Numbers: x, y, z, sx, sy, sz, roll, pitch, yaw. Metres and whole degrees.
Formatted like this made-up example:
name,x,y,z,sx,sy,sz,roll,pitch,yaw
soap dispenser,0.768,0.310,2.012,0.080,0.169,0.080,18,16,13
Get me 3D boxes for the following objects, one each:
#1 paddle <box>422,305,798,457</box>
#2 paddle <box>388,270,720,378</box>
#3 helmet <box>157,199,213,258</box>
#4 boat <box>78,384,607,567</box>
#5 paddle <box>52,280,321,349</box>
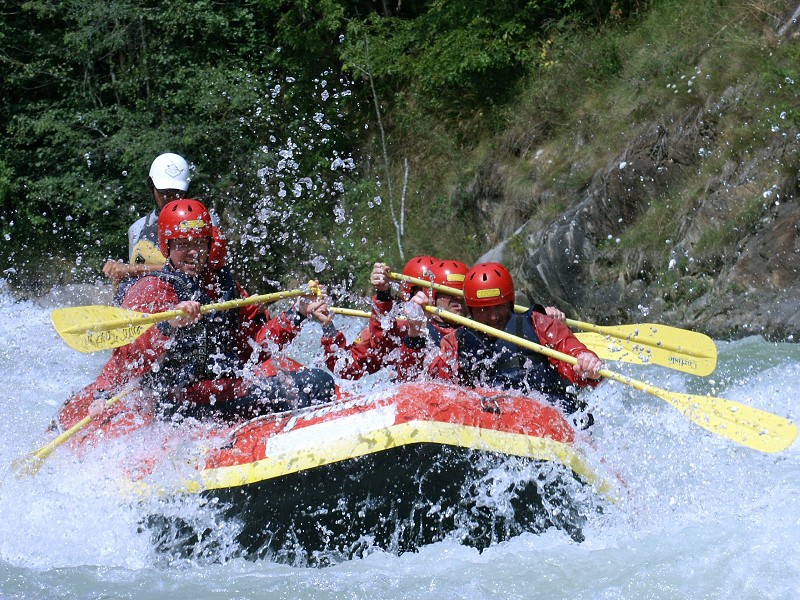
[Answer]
name,x,y,z,sx,sy,sz,roll,pitch,yaw
paddle,2.054,0.880,11.970,3.044,0.401,0.111,26,-8,10
paddle,1.717,0.285,12.817,3.630,0.621,0.272,15,20,24
helmet,-2.194,-0.751,12.119,0.384,0.493,0.558,-2,14,-14
boat,-0.219,1.715,11.315,3.106,1.028,2.099,-9,21,-10
paddle,-2.176,0.185,12.317,2.169,0.272,0.526,-10,61,-20
